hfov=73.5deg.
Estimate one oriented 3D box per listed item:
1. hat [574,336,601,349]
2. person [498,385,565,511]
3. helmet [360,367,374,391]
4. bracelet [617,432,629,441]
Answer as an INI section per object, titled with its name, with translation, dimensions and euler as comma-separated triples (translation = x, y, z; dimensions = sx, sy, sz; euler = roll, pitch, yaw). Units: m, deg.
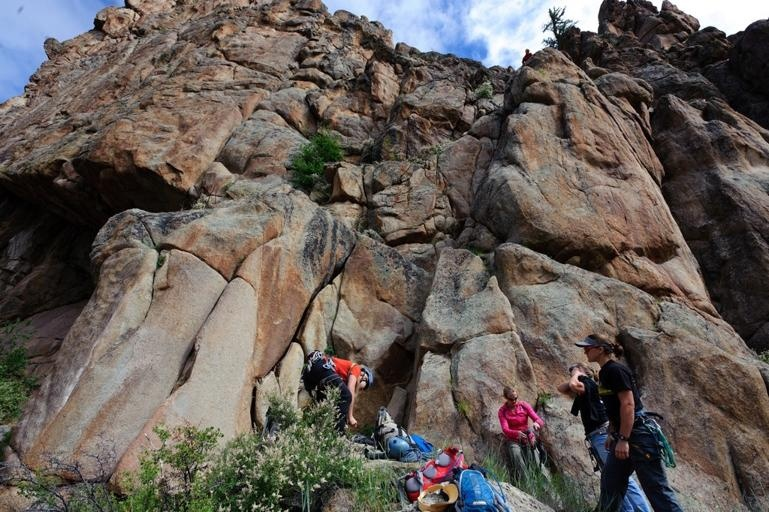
[hat]
translation = 4.835, 2.069, 12.299
dimensions = 0.500, 0.209, 0.343
euler = -1, -11, 5
[person]
translation = 3.706, 4.930, 13.478
dimensions = 1.313, 2.931, 1.171
euler = -22, -14, 37
[helmet]
translation = -0.504, 3.551, 14.596
dimensions = 0.408, 0.566, 0.603
euler = 4, -46, 3
[bracelet]
translation = 5.388, 4.121, 11.691
dimensions = 0.164, 0.091, 0.133
euler = 11, -13, 42
